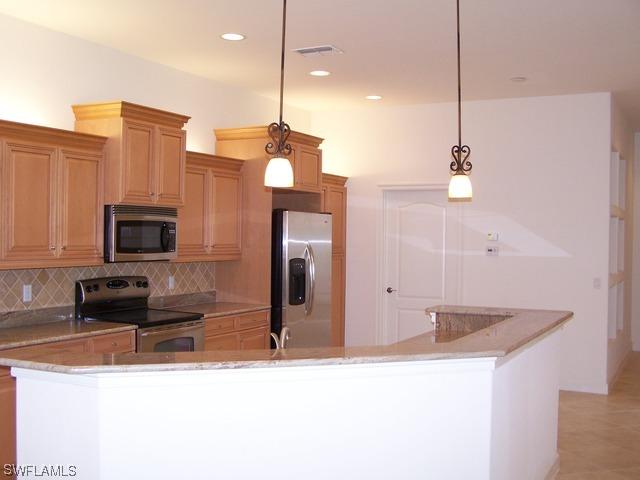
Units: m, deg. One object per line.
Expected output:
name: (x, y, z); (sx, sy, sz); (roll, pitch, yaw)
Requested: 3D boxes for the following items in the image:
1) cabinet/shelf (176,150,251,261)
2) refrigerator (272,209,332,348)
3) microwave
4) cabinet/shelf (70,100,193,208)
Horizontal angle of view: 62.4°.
cabinet/shelf: (-1.106, -0.330, 5.403); (0.476, 1.233, 1.159); (-2, -3, 37)
refrigerator: (-0.216, 0.434, 5.771); (0.313, 1.479, 0.864); (-1, -4, 33)
microwave: (-1.643, -0.059, 4.796); (0.349, 0.447, 0.662); (6, 4, 43)
cabinet/shelf: (-1.698, -0.755, 4.864); (0.565, 0.833, 0.970); (4, 4, 23)
